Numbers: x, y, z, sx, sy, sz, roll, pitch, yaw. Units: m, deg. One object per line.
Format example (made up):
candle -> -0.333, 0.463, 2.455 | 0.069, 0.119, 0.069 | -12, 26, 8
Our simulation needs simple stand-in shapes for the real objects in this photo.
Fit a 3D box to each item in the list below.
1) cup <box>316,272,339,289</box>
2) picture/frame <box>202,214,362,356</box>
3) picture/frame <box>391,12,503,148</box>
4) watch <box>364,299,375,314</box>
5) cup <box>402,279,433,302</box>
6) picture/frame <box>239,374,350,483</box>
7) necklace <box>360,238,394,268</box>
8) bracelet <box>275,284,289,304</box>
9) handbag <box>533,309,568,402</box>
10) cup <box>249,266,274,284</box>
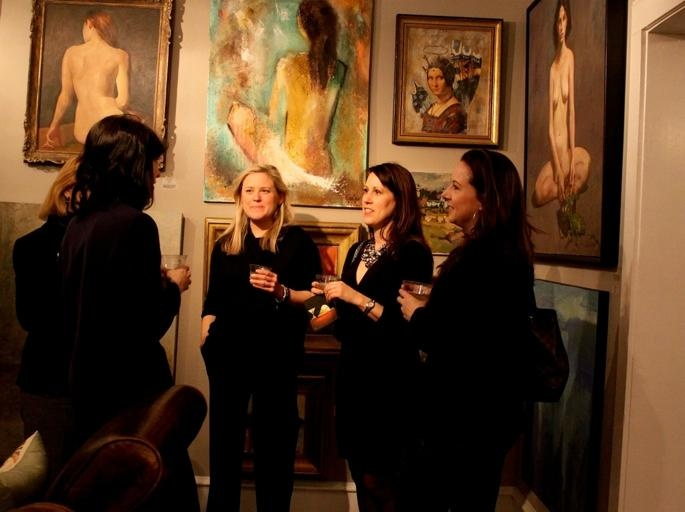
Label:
cup -> -0.075, 0.136, 3.305 | 0.083, 0.073, 0.093 | -2, -4, 44
picture/frame -> -0.404, 0.205, 3.678 | 0.857, 0.841, 0.068 | 0, -7, -6
picture/frame -> 0.770, -1.287, 4.232 | 0.797, 1.067, 0.066 | 1, -2, -2
watch -> 0.154, 0.280, 3.237 | 0.045, 0.075, 0.069 | 29, -30, 9
cup -> 0.381, 0.163, 2.869 | 0.097, 0.074, 0.102 | 6, -7, 1
picture/frame -> -0.280, 1.166, 4.321 | 0.787, 0.955, 0.654 | 0, 1, 3
necklace -> 0.199, -0.016, 3.472 | 0.039, 0.160, 0.144 | 26, -7, -34
bracelet -> -0.350, 0.226, 3.535 | 0.101, 0.127, 0.072 | -5, 8, -37
handbag -> 0.948, 0.446, 2.679 | 0.245, 0.396, 0.084 | 3, -6, -25
cup -> -0.489, 0.086, 3.471 | 0.139, 0.088, 0.227 | 0, 9, -23
